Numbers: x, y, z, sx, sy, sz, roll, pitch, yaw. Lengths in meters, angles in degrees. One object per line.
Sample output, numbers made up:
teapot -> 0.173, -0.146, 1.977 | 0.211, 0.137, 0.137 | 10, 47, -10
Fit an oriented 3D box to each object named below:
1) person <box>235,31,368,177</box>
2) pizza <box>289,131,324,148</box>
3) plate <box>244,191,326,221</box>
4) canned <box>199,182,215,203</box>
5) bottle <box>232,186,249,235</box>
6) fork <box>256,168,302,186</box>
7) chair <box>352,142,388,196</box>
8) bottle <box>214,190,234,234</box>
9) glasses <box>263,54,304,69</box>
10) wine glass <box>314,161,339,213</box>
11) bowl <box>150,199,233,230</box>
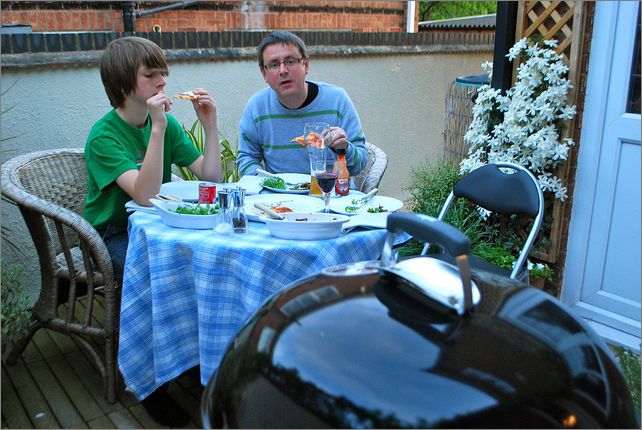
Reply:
person -> -0.197, -0.640, 3.086 | 0.888, 1.169, 0.779 | 1, 23, 17
pizza -> -0.075, -0.405, 2.416 | 0.167, 0.072, 0.111 | -11, 27, 3
plate -> -0.205, -0.061, 2.227 | 0.206, 0.023, 0.208 | -10, 24, -30
canned -> -0.546, -0.114, 2.195 | 0.083, 0.097, 0.086 | 0, 12, -7
bottle -> -0.354, -0.026, 1.942 | 0.064, 0.182, 0.120 | -3, 23, -9
fork -> -0.250, -0.228, 2.689 | 0.052, 0.051, 0.371 | -24, 32, -35
chair -> 0.372, -0.324, 3.275 | 0.325, 0.362, 0.352 | 1, 21, 4
bottle -> -0.412, -0.012, 1.892 | 0.084, 0.169, 0.076 | 5, 23, 8
glasses -> -0.240, -1.009, 2.953 | 0.265, 0.083, 0.127 | -1, 24, -6
wine glass -> 0.029, -0.108, 2.195 | 0.122, 0.337, 0.117 | -5, 25, -9
bowl -> -0.583, 0.012, 2.031 | 0.214, 0.084, 0.286 | 27, 20, 32
